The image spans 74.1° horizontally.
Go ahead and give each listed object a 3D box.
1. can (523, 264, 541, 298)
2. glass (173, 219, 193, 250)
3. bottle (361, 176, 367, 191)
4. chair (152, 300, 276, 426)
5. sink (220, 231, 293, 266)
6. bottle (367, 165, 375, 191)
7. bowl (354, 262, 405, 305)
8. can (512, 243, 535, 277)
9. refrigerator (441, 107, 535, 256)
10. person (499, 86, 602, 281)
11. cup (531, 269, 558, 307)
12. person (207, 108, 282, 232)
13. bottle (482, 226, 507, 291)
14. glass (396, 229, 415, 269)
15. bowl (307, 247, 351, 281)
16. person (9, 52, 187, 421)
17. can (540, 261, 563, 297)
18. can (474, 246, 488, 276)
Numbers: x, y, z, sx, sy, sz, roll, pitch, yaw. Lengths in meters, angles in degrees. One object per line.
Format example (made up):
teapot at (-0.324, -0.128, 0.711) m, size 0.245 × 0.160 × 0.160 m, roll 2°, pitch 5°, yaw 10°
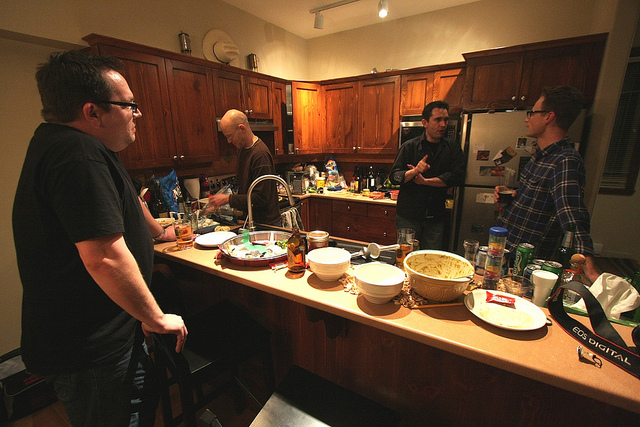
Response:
can at (1.387, 0.438, 2.783) m, size 0.096 × 0.186 × 0.162 m, roll 8°, pitch 20°, yaw 33°
glass at (-1.077, 0.164, 3.356) m, size 0.145 × 0.221 × 0.142 m, roll -8°, pitch 2°, yaw -21°
bottle at (0.565, -0.384, 5.389) m, size 0.077 × 0.173 × 0.080 m, roll -3°, pitch 17°, yaw 1°
chair at (-0.752, 1.082, 3.063) m, size 0.514 × 1.128 × 0.368 m, roll -32°, pitch 61°, yaw -32°
sink at (-0.467, 0.260, 3.145) m, size 0.528 × 0.165 × 0.347 m, roll -6°, pitch 17°, yaw -12°
bottle at (0.652, -0.433, 5.380) m, size 0.085 × 0.252 × 0.207 m, roll -1°, pitch 16°, yaw 7°
bowl at (0.413, 0.490, 2.779) m, size 0.307 × 0.174 × 0.303 m, roll 8°, pitch 5°, yaw -1°
can at (1.365, 0.324, 2.830) m, size 0.118 × 0.214 × 0.120 m, roll 0°, pitch 18°, yaw 0°
refrigerator at (1.885, -0.419, 4.841) m, size 0.636 × 1.861 × 0.867 m, roll 9°, pitch 41°, yaw 20°
person at (1.838, -0.270, 3.196) m, size 0.513 × 1.314 × 0.800 m, roll -10°, pitch 18°, yaw -21°
cup at (1.413, 0.472, 2.692) m, size 0.128 × 0.216 × 0.105 m, roll -9°, pitch 17°, yaw -19°
person at (-0.683, -0.360, 3.860) m, size 0.604 × 1.124 × 1.169 m, roll -5°, pitch 16°, yaw -5°
bottle at (1.139, 0.293, 2.763) m, size 0.110 × 0.403 × 0.154 m, roll 6°, pitch 19°, yaw 28°
glass at (0.608, 0.251, 3.007) m, size 0.123 × 0.249 × 0.229 m, roll 0°, pitch 17°, yaw 11°
bowl at (0.066, 0.376, 2.928) m, size 0.255 × 0.149 × 0.257 m, roll 2°, pitch 10°, yaw 0°
person at (-1.469, 0.200, 2.677) m, size 0.979 × 2.326 × 0.587 m, roll -9°, pitch 18°, yaw -20°
can at (1.465, 0.422, 2.691) m, size 0.128 × 0.192 × 0.196 m, roll 7°, pitch 19°, yaw 30°
can at (1.101, 0.318, 2.892) m, size 0.076 × 0.208 × 0.211 m, roll 3°, pitch 17°, yaw 20°
